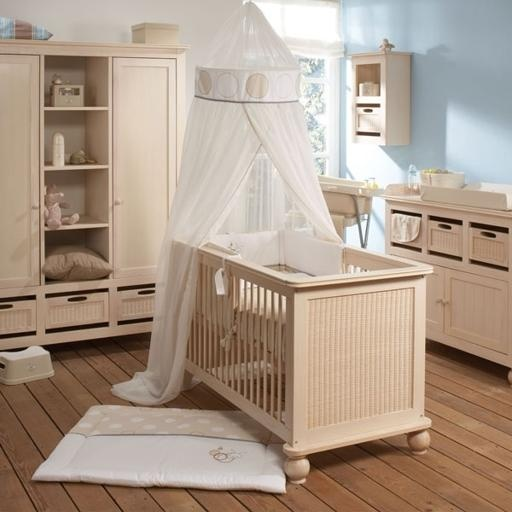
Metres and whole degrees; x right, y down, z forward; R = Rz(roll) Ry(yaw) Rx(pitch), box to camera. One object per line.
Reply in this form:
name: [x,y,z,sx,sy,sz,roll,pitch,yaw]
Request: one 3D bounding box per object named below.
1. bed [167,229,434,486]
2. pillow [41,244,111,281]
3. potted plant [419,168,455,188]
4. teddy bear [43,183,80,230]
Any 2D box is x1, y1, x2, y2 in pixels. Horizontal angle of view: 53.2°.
bed: [0.203,0.361,2.310,0.728,0.807,0.983,-3,8,-24]
pillow: [-1.123,0.051,3.231,0.395,0.197,0.322,-2,7,-18]
potted plant: [1.144,-0.498,3.315,0.128,0.064,0.178,0,3,-7]
teddy bear: [-1.229,-0.314,3.151,0.192,0.271,0.225,11,17,26]
